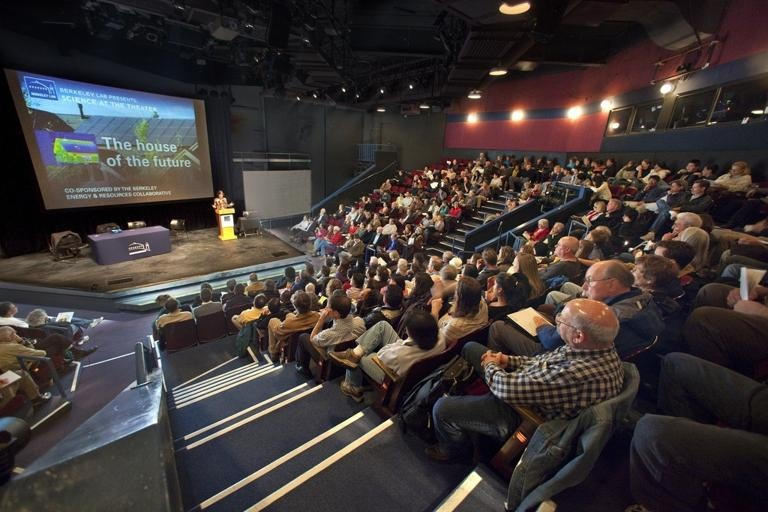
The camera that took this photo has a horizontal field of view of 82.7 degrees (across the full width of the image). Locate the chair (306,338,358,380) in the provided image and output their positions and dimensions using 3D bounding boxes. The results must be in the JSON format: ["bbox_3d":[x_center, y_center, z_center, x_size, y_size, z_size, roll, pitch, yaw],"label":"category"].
[{"bbox_3d":[-0.692,1.397,6.046,0.512,0.562,0.425,-12,30,-27],"label":"chair"}]

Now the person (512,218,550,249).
[{"bbox_3d":[3.094,-0.462,9.120,0.451,0.725,0.453,24,27,5],"label":"person"}]

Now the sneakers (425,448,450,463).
[{"bbox_3d":[0.657,2.402,5.273,0.244,0.222,0.107,21,31,34],"label":"sneakers"}]

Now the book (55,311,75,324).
[{"bbox_3d":[-5.975,1.142,8.173,0.207,0.185,0.022,-7,-14,-26],"label":"book"}]

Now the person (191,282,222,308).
[{"bbox_3d":[-3.387,0.746,8.311,0.635,0.321,0.824,-11,-2,-40],"label":"person"}]

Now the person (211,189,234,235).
[{"bbox_3d":[-4.798,-1.283,13.115,0.566,1.425,1.190,-6,16,-20],"label":"person"}]

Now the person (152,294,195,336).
[{"bbox_3d":[-3.922,1.093,8.055,0.480,0.944,0.501,-8,62,-27],"label":"person"}]

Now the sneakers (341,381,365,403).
[{"bbox_3d":[-0.438,1.830,5.989,0.181,0.134,0.333,-16,35,-43],"label":"sneakers"}]

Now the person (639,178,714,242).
[{"bbox_3d":[5.226,-0.774,7.782,0.850,1.243,0.560,12,19,-3],"label":"person"}]

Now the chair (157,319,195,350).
[{"bbox_3d":[-3.653,1.252,7.878,0.616,0.627,0.561,-6,24,-31],"label":"chair"}]

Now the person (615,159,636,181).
[{"bbox_3d":[5.565,-1.988,10.060,0.392,0.424,1.206,8,15,27],"label":"person"}]

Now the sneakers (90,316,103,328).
[{"bbox_3d":[-5.773,1.330,8.764,0.134,0.053,0.175,3,26,38],"label":"sneakers"}]

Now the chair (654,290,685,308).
[{"bbox_3d":[3.583,0.537,5.496,0.284,0.147,0.317,-8,10,-7],"label":"chair"}]

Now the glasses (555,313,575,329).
[{"bbox_3d":[2.047,0.732,4.987,0.165,0.050,0.167,38,17,26],"label":"glasses"}]
